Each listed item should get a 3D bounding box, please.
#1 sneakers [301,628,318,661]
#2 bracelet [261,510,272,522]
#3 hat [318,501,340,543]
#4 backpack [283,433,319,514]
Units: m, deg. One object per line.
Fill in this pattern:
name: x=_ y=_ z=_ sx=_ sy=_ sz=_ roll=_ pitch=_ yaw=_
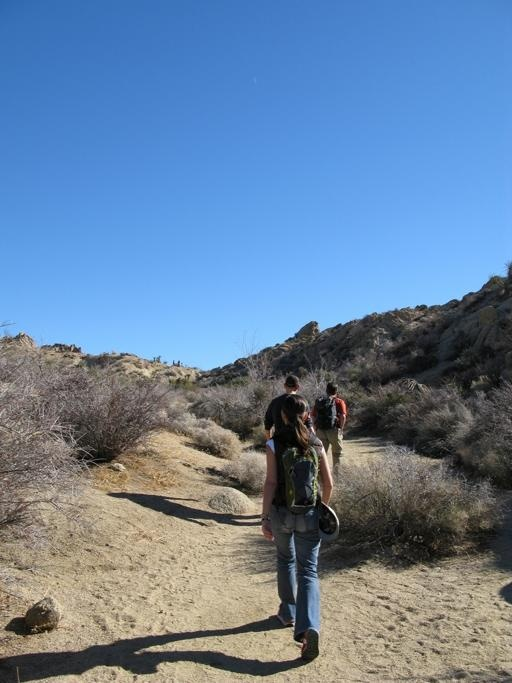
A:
sneakers: x=0.371 y=2.100 z=3.828 sx=0.111 sy=0.257 sz=0.113 roll=-1 pitch=11 yaw=-6
bracelet: x=0.078 y=1.345 z=4.200 sx=0.070 sy=0.040 sz=0.090 roll=1 pitch=1 yaw=-7
hat: x=0.544 y=1.360 z=4.101 sx=0.147 sy=0.279 sz=0.274 roll=-3 pitch=-1 yaw=6
backpack: x=0.353 y=1.014 z=4.064 sx=0.307 sy=0.446 sz=0.271 roll=-2 pitch=-1 yaw=-12
